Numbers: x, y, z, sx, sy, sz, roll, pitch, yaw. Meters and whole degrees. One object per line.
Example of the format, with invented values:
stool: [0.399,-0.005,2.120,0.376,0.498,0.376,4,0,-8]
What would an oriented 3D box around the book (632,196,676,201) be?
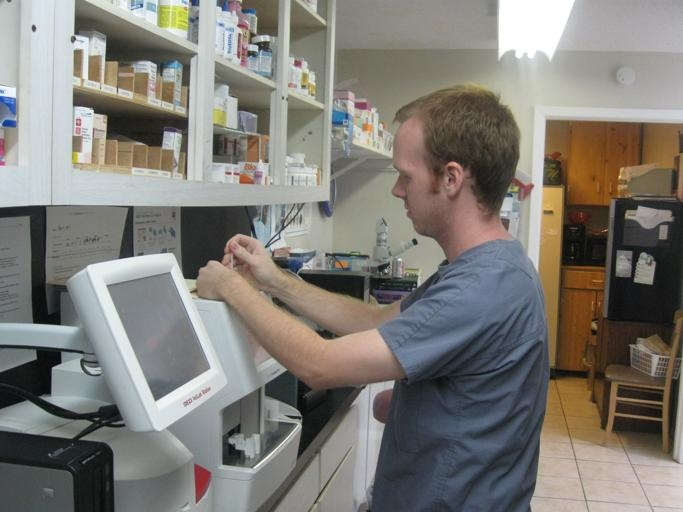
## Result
book: [2.551,-0.471,4.702,0.313,0.046,0.280,5,7,29]

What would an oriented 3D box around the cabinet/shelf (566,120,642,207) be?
cabinet/shelf: [2.740,-0.961,6.007,0.760,0.841,0.198,1,6,-9]

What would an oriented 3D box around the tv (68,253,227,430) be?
tv: [-0.428,0.203,1.266,0.133,0.377,0.370,-16,1,18]
